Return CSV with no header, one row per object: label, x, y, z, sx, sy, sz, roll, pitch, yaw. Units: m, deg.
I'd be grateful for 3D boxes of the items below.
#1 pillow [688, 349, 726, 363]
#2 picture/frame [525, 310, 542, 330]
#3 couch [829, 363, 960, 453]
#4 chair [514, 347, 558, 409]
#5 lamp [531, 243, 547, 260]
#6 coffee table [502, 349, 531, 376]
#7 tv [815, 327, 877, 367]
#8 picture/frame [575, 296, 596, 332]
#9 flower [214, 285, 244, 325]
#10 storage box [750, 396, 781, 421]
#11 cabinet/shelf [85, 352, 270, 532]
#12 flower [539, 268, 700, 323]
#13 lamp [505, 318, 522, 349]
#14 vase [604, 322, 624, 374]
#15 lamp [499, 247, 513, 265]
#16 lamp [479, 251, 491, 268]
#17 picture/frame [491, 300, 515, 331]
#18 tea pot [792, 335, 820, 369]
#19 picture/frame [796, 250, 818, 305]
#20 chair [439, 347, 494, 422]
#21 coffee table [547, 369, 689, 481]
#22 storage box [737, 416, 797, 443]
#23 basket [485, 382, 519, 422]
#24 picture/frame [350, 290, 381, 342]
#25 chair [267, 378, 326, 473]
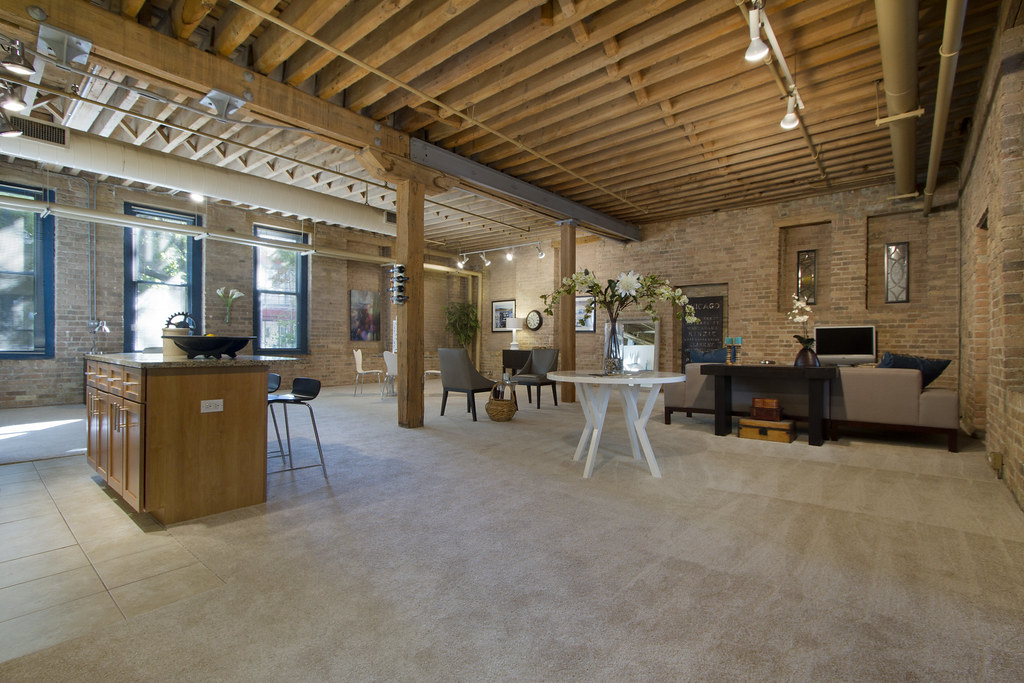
pillow,3.136,0.225,9.406,0.531,0.178,0.717,-1,0,20
picture/frame,0.542,-0.534,14.803,0.488,0.473,0.500,-15,-5,33
couch,4.825,0.727,7.331,0.862,0.842,1.421,-7,2,-20
chair,0.420,0.630,10.304,0.659,0.957,0.753,2,1,43
lamp,0.687,-2.220,14.626,0.219,0.380,0.575,-2,1,-20
coffee table,0.099,0.405,11.674,0.596,0.524,0.209,2,7,32
tv,5.411,0.101,9.451,0.630,0.513,0.266,-2,-11,31
picture/frame,1.491,-0.501,11.942,0.037,0.888,0.947,-3,4,-34
flower,-5.690,-0.736,11.726,0.695,0.661,0.652,4,1,27
storage box,3.234,0.862,7.536,0.342,0.307,0.281,1,1,37
cabinet/shelf,-3.323,0.800,5.744,2.031,1.208,1.216,1,0,45
flower,1.175,-0.451,6.412,1.009,0.362,1.063,12,10,34
lamp,0.016,-0.244,14.932,0.441,0.801,1.120,-1,1,0
vase,1.099,0.065,6.338,0.221,0.549,0.212,-1,3,9
lamp,-0.090,-2.228,15.328,0.267,0.392,0.632,-2,1,-7
lamp,-0.704,-2.200,15.835,0.284,0.383,0.593,-2,1,-6
picture/frame,-0.207,-0.670,15.384,0.040,0.884,0.883,3,-4,-43
tea pot,3.725,0.124,7.443,0.252,0.376,0.735,-1,1,25
picture/frame,5.499,-1.171,10.972,0.358,0.952,0.055,-2,8,7
chair,-0.673,0.637,8.992,0.898,1.024,0.735,0,0,-40
coffee table,1.076,0.790,6.423,1.300,0.896,1.312,-2,-4,30
storage box,3.185,1.103,7.387,0.650,0.264,0.311,-1,1,24
basket,-0.174,0.887,8.692,0.422,0.528,0.672,-1,1,-3
picture/frame,-3.522,-0.601,14.047,0.123,1.208,0.819,0,2,36
chair,-2.437,0.918,6.338,0.580,0.851,0.575,11,-10,11
